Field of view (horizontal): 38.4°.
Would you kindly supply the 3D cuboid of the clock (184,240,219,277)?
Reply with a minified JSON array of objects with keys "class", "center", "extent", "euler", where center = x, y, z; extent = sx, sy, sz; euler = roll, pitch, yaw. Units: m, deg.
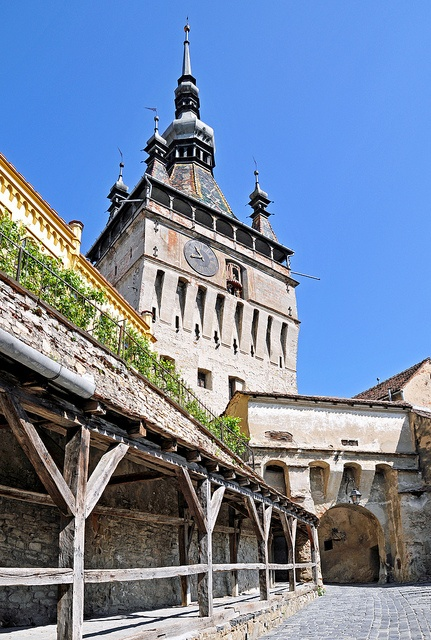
[{"class":"clock","center":[-0.671,-2.526,25.678],"extent":[0.089,1.410,1.386],"euler":[-32,-43,31]}]
